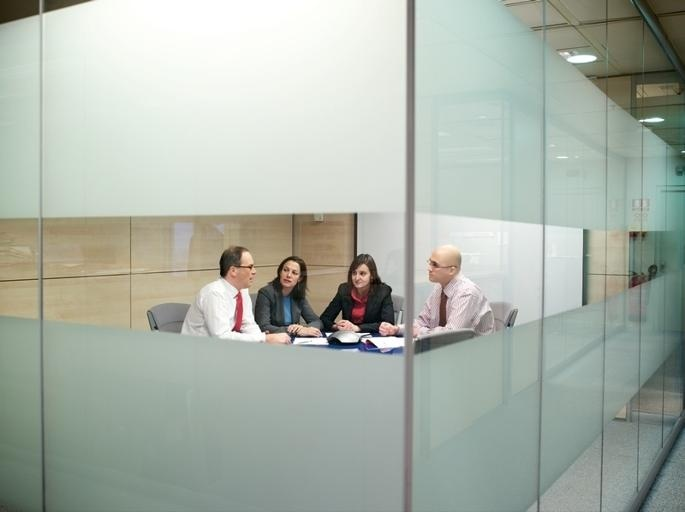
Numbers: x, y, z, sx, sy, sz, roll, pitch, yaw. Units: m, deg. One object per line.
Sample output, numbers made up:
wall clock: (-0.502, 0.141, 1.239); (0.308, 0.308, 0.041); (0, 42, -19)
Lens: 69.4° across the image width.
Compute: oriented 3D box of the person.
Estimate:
person: (-0.078, 0.172, 2.334); (1.489, 0.439, 0.399); (-1, 2, 17)

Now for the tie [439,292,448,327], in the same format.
tie: (0.433, 0.232, 2.128); (0.049, 0.143, 0.011); (-3, 3, -36)

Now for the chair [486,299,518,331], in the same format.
chair: (0.778, 0.287, 2.384); (0.118, 0.162, 0.139); (1, -4, 22)

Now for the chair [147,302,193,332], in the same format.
chair: (-0.896, 0.303, 2.582); (0.156, 0.205, 0.178); (0, -2, -2)
